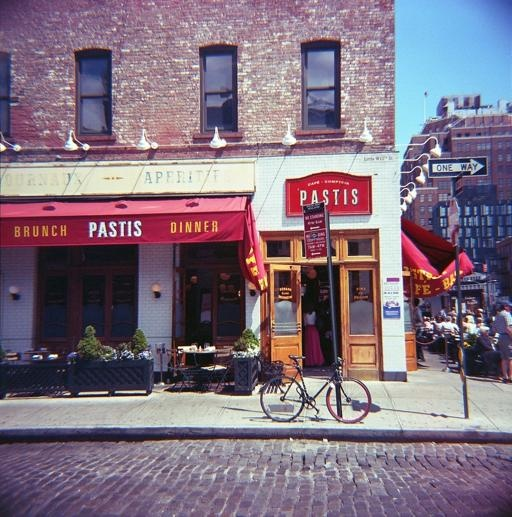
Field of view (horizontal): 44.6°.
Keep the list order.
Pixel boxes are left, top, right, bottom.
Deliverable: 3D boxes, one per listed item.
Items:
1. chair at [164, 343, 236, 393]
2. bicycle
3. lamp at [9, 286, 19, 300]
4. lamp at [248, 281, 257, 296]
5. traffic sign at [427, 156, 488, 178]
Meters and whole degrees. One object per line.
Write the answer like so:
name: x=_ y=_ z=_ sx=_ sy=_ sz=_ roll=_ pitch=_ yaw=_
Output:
chair: x=-1.212 y=2.436 z=13.724 sx=1.054 sy=0.741 sz=1.112 roll=1 pitch=2 yaw=-1
bicycle: x=1.083 y=2.287 z=11.029 sx=1.923 sy=1.183 sz=0.993 roll=-1 pitch=-7 yaw=4
lamp: x=-5.742 y=0.839 z=14.840 sx=0.248 sy=0.345 sz=0.137 roll=0 pitch=-4 yaw=-10
lamp: x=-0.079 y=0.714 z=14.281 sx=0.224 sy=0.335 sz=0.111 roll=-4 pitch=-5 yaw=38
traffic sign: x=3.734 y=-1.667 z=11.522 sx=1.072 sy=0.440 sz=0.621 roll=-2 pitch=-4 yaw=14
